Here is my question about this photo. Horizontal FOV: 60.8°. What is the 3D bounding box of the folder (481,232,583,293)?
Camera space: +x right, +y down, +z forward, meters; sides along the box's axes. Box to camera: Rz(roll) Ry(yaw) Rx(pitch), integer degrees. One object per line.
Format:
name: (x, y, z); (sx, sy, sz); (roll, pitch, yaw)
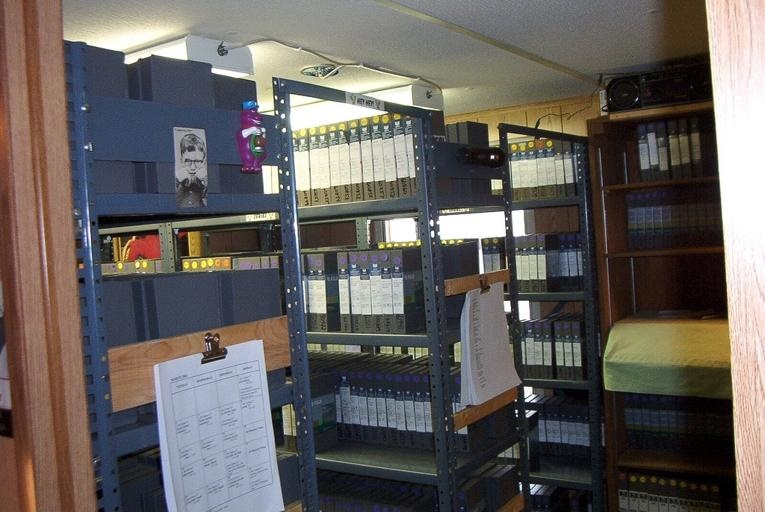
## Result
folder: (0.947, 0.042, 3.972); (0.715, 0.364, 0.469); (-1, 3, 4)

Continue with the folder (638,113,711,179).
folder: (1.738, -0.605, 3.947); (0.465, 0.433, 0.337); (-6, -4, 43)

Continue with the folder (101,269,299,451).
folder: (-0.651, 0.261, 2.182); (0.430, 0.546, 0.604); (3, 6, 39)

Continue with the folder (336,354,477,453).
folder: (0.138, 0.691, 3.414); (0.778, 0.392, 0.376); (1, 3, 27)

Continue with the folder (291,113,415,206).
folder: (0.011, -0.505, 3.336); (0.762, 0.392, 0.489); (0, 16, 31)

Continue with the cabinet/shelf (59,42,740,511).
cabinet/shelf: (0.222, 0.103, 2.929); (2.828, 2.300, 0.909); (-6, 7, -38)

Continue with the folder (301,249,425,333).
folder: (-0.105, 0.166, 3.124); (0.604, 0.287, 0.175); (-4, 4, 27)

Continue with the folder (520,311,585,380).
folder: (1.158, 0.518, 4.282); (0.363, 0.458, 0.504); (-2, 0, 30)

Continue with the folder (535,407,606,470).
folder: (1.228, 1.178, 4.210); (0.497, 0.455, 0.232); (-2, -1, 38)

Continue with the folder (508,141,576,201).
folder: (1.047, -0.544, 4.199); (0.465, 0.407, 0.251); (-1, 3, 35)
